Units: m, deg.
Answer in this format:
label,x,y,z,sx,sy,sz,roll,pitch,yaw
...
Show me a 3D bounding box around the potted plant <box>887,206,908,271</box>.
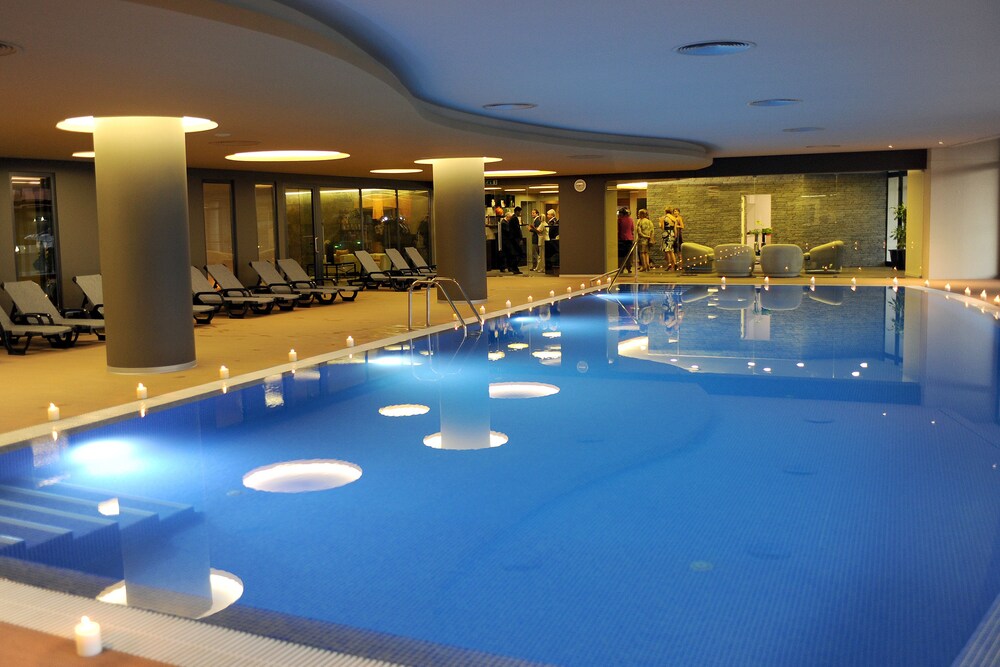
label,x,y,z,sx,sy,sz,roll,pitch,yaw
potted plant,15.233,-3.653,25.580,0.453,2.352,0.911,5,12,26
